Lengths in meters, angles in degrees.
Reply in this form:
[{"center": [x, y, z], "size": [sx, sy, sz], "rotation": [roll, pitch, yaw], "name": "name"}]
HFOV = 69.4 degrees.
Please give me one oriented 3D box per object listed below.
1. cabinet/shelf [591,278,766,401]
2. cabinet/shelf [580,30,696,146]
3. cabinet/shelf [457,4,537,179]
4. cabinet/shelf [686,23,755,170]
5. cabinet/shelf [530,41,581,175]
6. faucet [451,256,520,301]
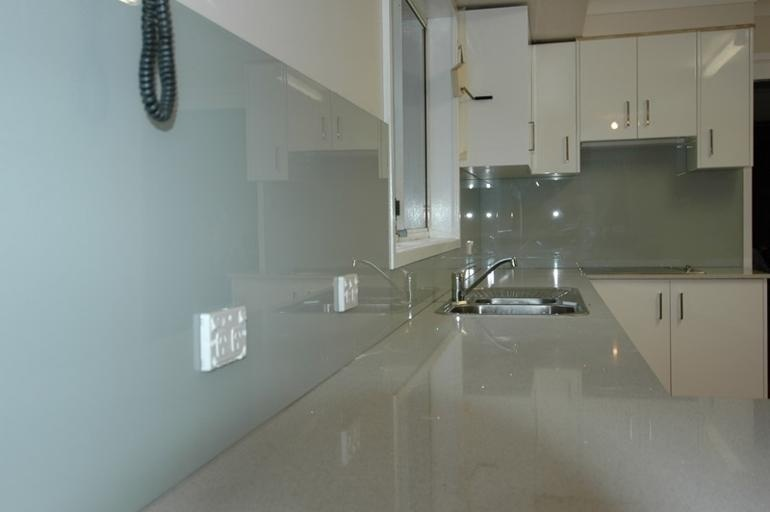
[{"center": [1.644, 0.434, 2.951], "size": [0.722, 0.548, 0.284], "rotation": [0, -2, 10], "name": "cabinet/shelf"}, {"center": [1.626, -1.076, 3.690], "size": [0.786, 0.703, 0.334], "rotation": [10, 35, 39], "name": "cabinet/shelf"}, {"center": [0.643, -0.986, 3.238], "size": [0.413, 0.911, 0.164], "rotation": [0, 7, 8], "name": "cabinet/shelf"}, {"center": [2.096, -0.975, 3.429], "size": [0.314, 0.837, 0.098], "rotation": [0, 7, 10], "name": "cabinet/shelf"}, {"center": [1.126, -1.123, 3.660], "size": [0.270, 0.509, 0.231], "rotation": [-26, 38, -15], "name": "cabinet/shelf"}, {"center": [0.484, 0.122, 2.692], "size": [0.337, 0.214, 0.092], "rotation": [-4, 6, 33], "name": "faucet"}]
